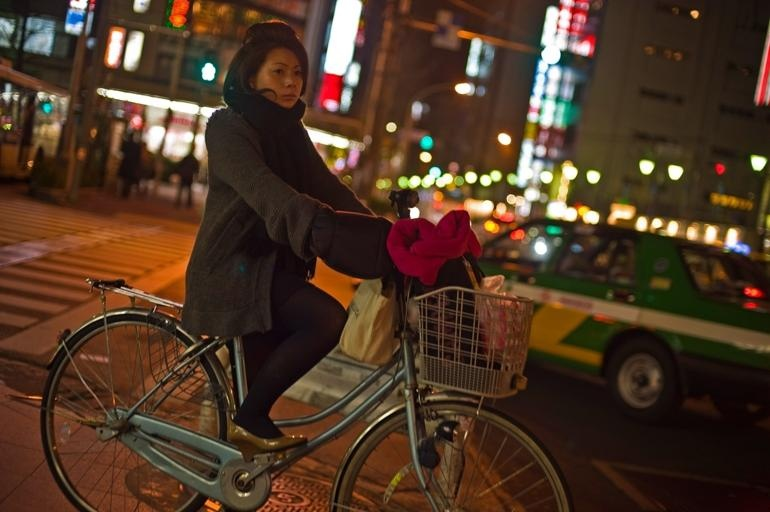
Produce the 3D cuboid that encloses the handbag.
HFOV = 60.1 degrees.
[{"bbox_3d":[-0.110,0.403,4.111,0.257,0.528,0.383,-2,9,-29],"label":"handbag"}]
